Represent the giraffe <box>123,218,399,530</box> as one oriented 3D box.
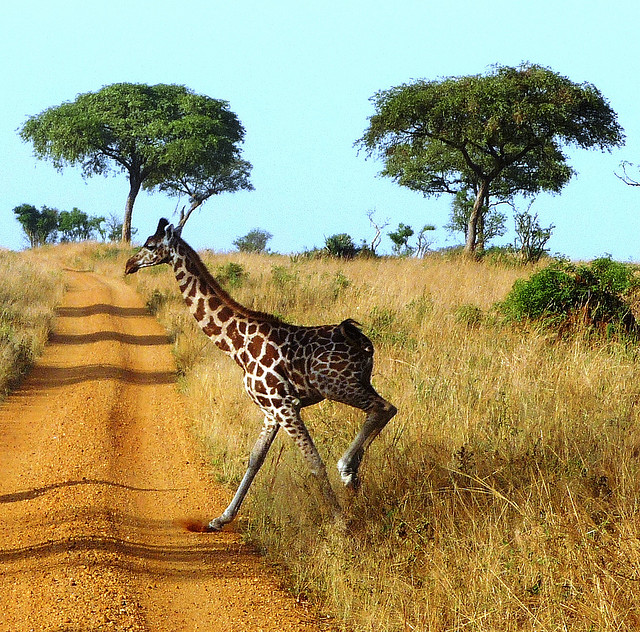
[{"bbox_3d":[-0.337,0.732,8.190,2.325,2.847,1.513,7,7,15],"label":"giraffe"}]
